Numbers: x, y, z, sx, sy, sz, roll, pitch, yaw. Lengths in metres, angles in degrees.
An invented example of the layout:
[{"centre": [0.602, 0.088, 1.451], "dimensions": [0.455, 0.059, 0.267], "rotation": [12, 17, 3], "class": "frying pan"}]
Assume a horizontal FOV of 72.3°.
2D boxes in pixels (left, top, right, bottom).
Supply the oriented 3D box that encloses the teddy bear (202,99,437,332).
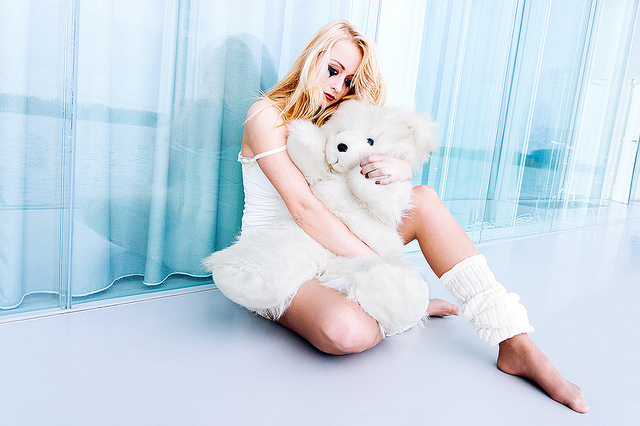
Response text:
[{"centre": [0.023, -0.070, 1.662], "dimensions": [0.807, 0.855, 0.632], "rotation": [9, 9, -5], "class": "teddy bear"}]
